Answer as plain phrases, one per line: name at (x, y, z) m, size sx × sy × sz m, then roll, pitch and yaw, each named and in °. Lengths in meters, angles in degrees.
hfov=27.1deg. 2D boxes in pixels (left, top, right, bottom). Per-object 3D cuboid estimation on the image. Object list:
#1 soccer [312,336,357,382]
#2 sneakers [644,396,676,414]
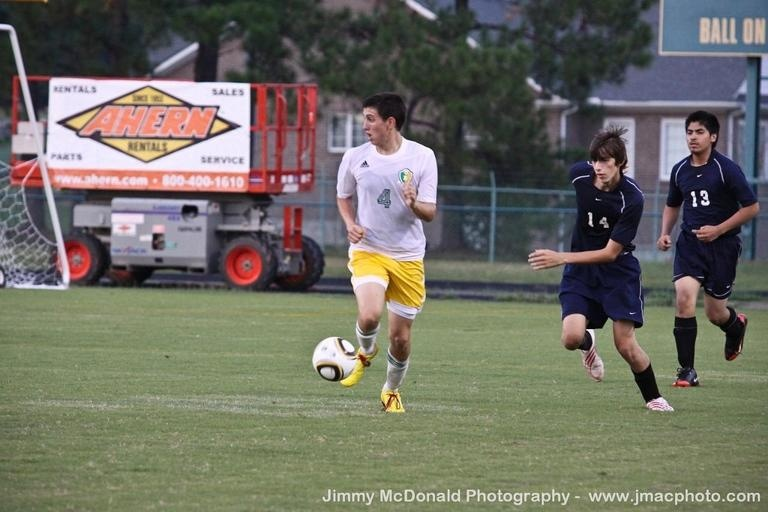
soccer at (-0.722, 1.511, 23.181) m, size 0.644 × 0.621 × 0.603 m, roll 1°, pitch -6°, yaw -4°
sneakers at (3.998, 2.192, 23.194) m, size 0.354 × 0.155 × 0.197 m, roll -1°, pitch 4°, yaw 2°
